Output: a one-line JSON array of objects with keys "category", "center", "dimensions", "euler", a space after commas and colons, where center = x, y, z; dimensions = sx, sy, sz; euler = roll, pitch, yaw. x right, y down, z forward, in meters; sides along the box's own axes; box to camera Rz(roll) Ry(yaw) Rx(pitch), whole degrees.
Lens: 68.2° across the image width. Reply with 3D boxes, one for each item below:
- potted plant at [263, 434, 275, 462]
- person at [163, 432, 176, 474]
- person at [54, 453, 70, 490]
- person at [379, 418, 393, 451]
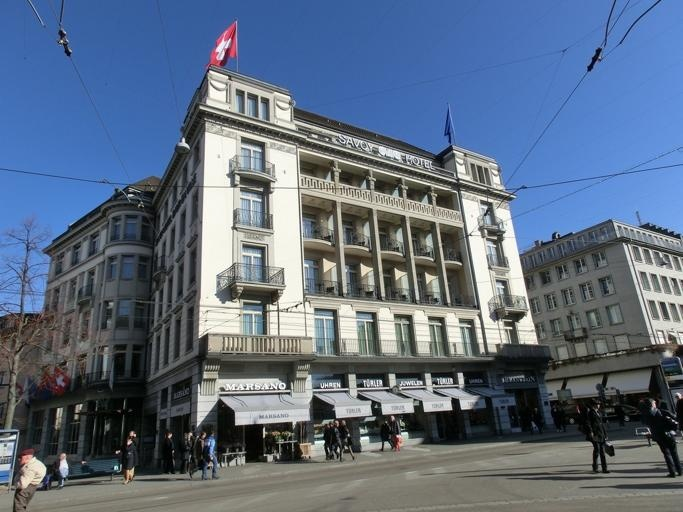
[{"category": "potted plant", "center": [-3.909, 10.377, 27.288], "dimensions": [0.558, 1.419, 0.559], "euler": [-1, -22, -13]}, {"category": "person", "center": [-8.916, 10.218, 26.020], "dimensions": [0.478, 1.982, 1.535], "euler": [2, -22, -19]}, {"category": "person", "center": [-13.398, 10.346, 24.222], "dimensions": [0.487, 1.503, 1.533], "euler": [6, -23, -28]}, {"category": "person", "center": [2.583, 10.651, 29.733], "dimensions": [0.724, 1.586, 1.251], "euler": [-7, -21, 2]}]
